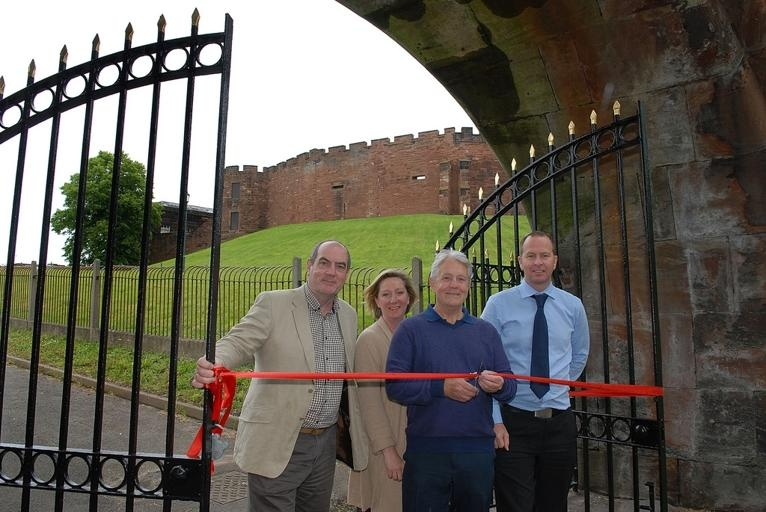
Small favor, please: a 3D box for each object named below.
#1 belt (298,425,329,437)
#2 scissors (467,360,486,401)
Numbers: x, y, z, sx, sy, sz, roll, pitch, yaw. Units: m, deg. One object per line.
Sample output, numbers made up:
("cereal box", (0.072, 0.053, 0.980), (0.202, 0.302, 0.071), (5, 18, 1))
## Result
("belt", (-0.590, 1.557, 5.375), (0.264, 0.074, 0.037), (7, -14, -30))
("scissors", (0.815, 1.069, 5.253), (0.146, 0.302, 0.161), (-1, -12, 7))
